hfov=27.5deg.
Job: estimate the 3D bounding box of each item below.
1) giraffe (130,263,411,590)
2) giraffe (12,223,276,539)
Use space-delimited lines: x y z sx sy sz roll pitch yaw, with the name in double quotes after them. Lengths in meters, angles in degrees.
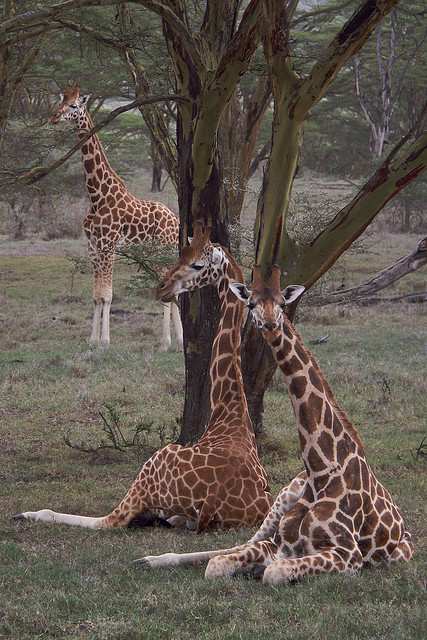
0.533 0.880 5.979 1.974 2.304 1.349 5 -11 -36 "giraffe"
-0.231 0.448 6.588 2.091 2.440 1.579 -2 -15 18 "giraffe"
